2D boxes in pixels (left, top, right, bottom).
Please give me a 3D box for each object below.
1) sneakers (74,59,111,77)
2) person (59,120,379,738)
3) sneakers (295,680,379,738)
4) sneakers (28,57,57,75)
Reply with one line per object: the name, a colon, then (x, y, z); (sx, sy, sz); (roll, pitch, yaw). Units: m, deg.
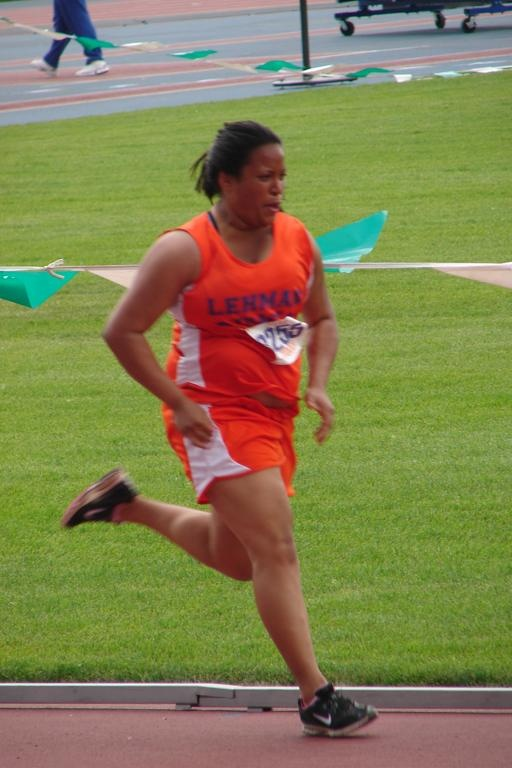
sneakers: (-1.318, -2.556, 8.857); (0.329, 0.119, 0.111); (0, 21, 20)
person: (-0.045, 0.104, 2.682); (0.547, 1.450, 0.599); (-8, 18, 4)
sneakers: (0.193, 0.775, 2.611); (0.235, 0.110, 0.099); (-2, 18, 8)
sneakers: (-1.695, -2.510, 8.689); (0.260, 0.077, 0.181); (15, 9, 32)
